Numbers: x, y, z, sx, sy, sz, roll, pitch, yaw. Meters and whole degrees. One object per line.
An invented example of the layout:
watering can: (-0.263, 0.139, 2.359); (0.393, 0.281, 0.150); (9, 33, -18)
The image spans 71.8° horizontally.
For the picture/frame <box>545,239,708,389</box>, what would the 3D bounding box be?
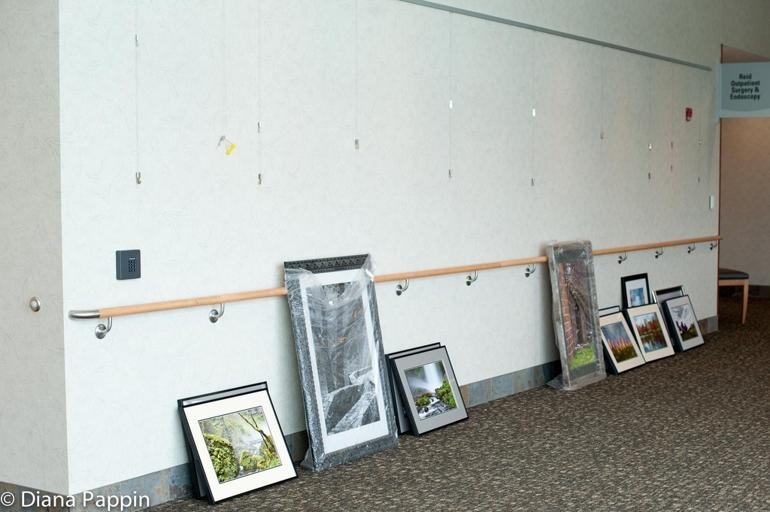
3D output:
picture/frame: (2.362, 0.488, 5.568); (1.899, 1.370, 0.420); (-7, 11, -34)

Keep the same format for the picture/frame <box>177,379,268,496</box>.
picture/frame: (-1.035, 1.199, 3.483); (0.507, 0.615, 0.293); (-8, 12, -41)

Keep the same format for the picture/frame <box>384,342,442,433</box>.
picture/frame: (0.386, 1.072, 4.296); (0.551, 0.593, 0.052); (-24, -10, 37)

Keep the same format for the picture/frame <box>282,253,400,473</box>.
picture/frame: (-0.300, 0.723, 3.841); (0.730, 1.396, 0.365); (-6, 10, -33)

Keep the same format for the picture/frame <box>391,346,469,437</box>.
picture/frame: (0.337, 1.097, 4.261); (0.571, 0.603, 0.053); (-11, -6, -45)

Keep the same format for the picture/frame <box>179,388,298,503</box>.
picture/frame: (-0.975, 1.234, 3.441); (0.580, 0.584, 0.201); (-7, -15, -46)
